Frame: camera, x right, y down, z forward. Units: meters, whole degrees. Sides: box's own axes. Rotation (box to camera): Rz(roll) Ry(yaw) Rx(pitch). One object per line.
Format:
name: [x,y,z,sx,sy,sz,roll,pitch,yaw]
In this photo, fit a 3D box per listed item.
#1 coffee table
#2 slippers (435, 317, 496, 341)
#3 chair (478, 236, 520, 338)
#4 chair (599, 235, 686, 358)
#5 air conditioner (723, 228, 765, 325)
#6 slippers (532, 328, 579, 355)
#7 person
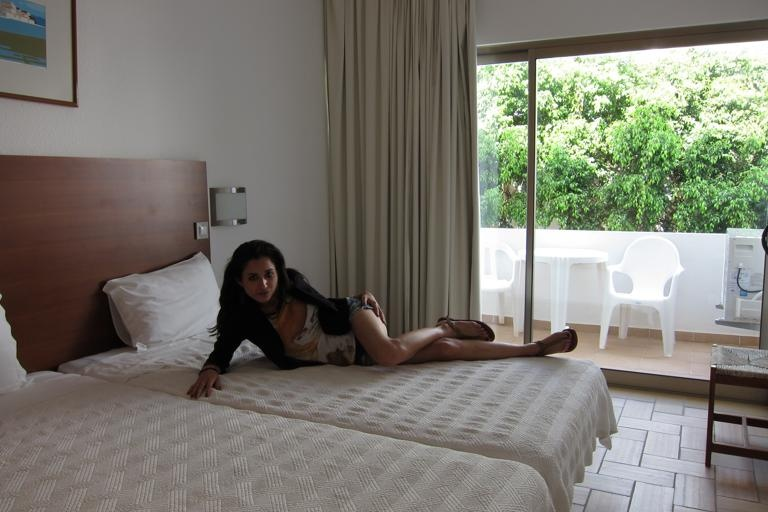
coffee table: [1.651,0.278,4.375,0.651,0.717,0.645,1,2,-34]
slippers: [0.512,0.445,2.987,0.290,0.080,0.164,8,-2,10]
chair: [1.071,0.226,4.302,0.485,0.685,0.452,12,16,25]
chair: [2.093,0.311,3.887,0.560,0.854,0.561,-10,13,-31]
air conditioner: [2.780,0.154,3.733,0.271,0.717,0.120,4,14,14]
slippers: [1.045,0.532,2.930,0.310,0.124,0.080,-22,0,-2]
person: [-0.141,0.366,2.848,1.468,0.594,1.042,-3,19,5]
